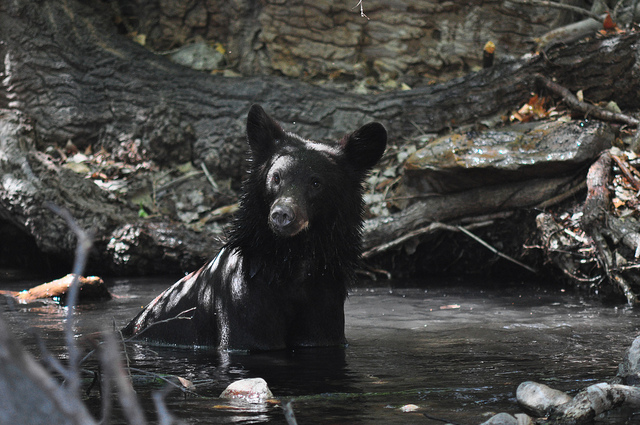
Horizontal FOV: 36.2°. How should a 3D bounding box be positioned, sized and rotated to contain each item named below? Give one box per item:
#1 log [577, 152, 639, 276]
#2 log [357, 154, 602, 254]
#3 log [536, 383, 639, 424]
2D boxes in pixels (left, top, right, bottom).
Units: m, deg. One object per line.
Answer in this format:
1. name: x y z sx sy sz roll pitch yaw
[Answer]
1. log: 5.545 -0.019 18.763 0.509 1.737 1.150 7 -7 -39
2. log: 3.449 -0.142 19.934 4.502 0.902 0.501 -18 -38 15
3. log: 3.840 2.692 13.783 1.466 0.471 0.287 -4 14 -15
